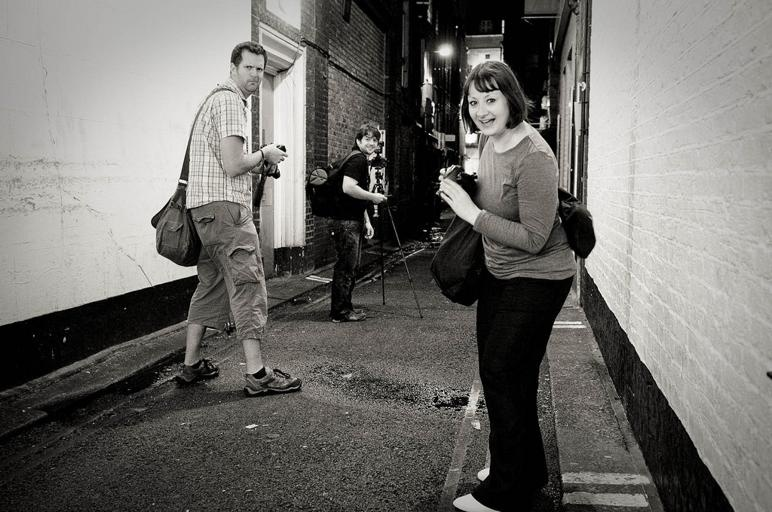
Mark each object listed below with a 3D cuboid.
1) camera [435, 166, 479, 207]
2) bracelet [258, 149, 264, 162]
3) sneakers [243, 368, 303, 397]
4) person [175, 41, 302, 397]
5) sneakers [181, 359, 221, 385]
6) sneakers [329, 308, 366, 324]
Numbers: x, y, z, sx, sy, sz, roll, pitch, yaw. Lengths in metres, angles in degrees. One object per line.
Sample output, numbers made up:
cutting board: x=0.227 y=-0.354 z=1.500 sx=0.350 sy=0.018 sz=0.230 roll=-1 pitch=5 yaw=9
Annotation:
camera: x=0.437 y=-0.429 z=3.103 sx=0.219 sy=0.224 sz=0.145 roll=-4 pitch=50 yaw=49
bracelet: x=-1.074 y=-0.867 z=4.527 sx=0.029 sy=0.086 sz=0.059 roll=3 pitch=4 yaw=-34
sneakers: x=-0.985 y=1.083 z=4.660 sx=0.514 sy=0.247 sz=0.202 roll=-2 pitch=3 yaw=-23
person: x=-1.329 y=-0.319 z=4.529 sx=0.759 sy=2.986 sz=0.856 roll=-6 pitch=8 yaw=-42
sneakers: x=-1.706 y=1.042 z=4.874 sx=0.143 sy=0.196 sz=0.394 roll=8 pitch=13 yaw=36
sneakers: x=-0.500 y=0.758 z=6.974 sx=0.482 sy=0.226 sz=0.184 roll=-1 pitch=4 yaw=-6
